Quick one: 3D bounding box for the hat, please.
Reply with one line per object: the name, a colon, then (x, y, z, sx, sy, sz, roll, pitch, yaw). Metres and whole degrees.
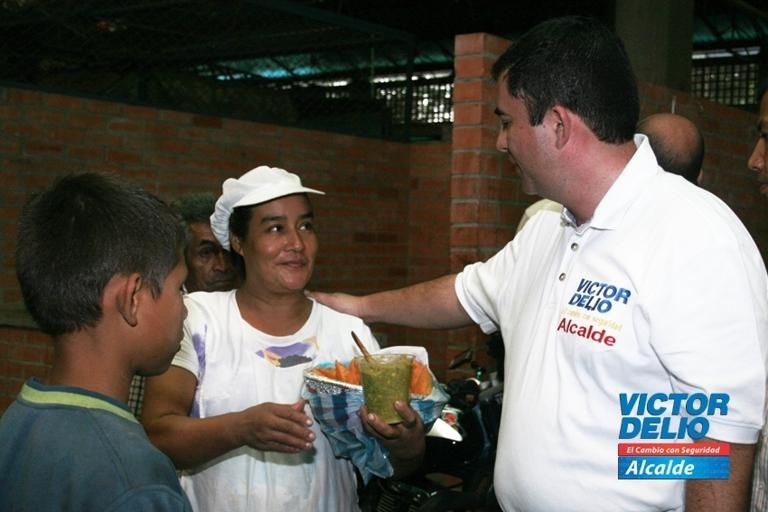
hat: (-0.583, -0.227, 3.049, 0.328, 0.184, 0.403, 1, -18, -28)

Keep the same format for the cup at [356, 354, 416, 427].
cup: (-0.021, 0.497, 2.632, 0.234, 0.262, 0.232, 0, -3, 0)
